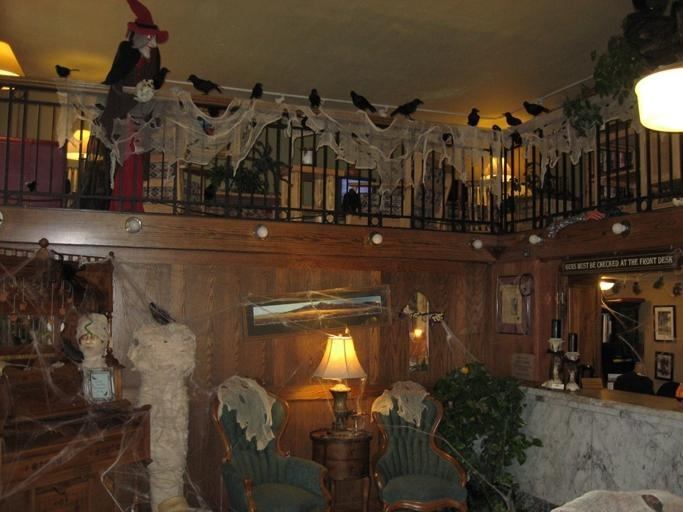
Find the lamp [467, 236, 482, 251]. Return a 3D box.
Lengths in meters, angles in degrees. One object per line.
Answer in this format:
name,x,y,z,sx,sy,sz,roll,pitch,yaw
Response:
lamp,1.658,-0.143,8.205,0.133,0.147,0.035,10,3,-30

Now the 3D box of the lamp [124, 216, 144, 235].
lamp,-2.146,-0.326,6.887,0.187,0.193,0.148,4,-1,-19

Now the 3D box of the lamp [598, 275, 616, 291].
lamp,3.525,0.346,8.824,0.202,0.168,0.216,-2,-7,16

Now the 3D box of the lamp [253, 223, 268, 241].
lamp,-0.872,-0.267,7.317,0.150,0.166,0.177,3,-1,-2

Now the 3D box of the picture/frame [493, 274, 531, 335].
picture/frame,2.145,0.602,8.274,0.087,0.947,0.659,4,-6,-28

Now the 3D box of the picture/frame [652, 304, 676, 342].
picture/frame,4.800,0.980,9.868,0.046,0.756,0.511,2,-3,-21

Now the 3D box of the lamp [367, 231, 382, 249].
lamp,0.389,-0.184,7.696,0.144,0.161,0.142,-12,-7,-5

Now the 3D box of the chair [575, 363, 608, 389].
chair,2.912,1.389,7.808,0.287,0.246,0.600,3,-1,20

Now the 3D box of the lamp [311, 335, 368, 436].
lamp,0.065,1.460,7.927,0.840,1.580,0.893,-1,-4,0

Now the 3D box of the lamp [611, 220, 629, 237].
lamp,2.922,-0.282,6.973,0.071,0.151,0.135,11,-17,-1

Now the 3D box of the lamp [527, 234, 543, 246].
lamp,2.280,-0.201,7.914,0.151,0.110,0.228,4,-1,-28

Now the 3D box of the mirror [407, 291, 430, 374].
mirror,0.963,0.923,8.194,0.307,0.906,0.093,3,-1,-30
